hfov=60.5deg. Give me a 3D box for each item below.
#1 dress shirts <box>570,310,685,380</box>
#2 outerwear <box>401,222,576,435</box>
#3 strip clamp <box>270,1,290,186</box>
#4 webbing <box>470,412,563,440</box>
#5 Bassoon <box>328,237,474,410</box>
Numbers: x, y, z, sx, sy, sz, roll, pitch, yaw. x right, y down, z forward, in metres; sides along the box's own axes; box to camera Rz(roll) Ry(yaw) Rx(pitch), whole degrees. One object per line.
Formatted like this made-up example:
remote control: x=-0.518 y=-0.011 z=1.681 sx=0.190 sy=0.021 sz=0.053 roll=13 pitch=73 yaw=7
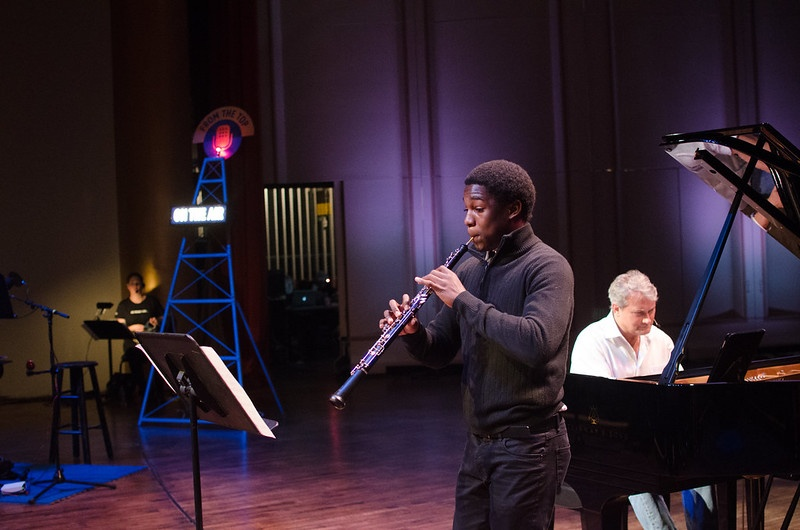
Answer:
dress shirts: x=1.600 y=0.388 z=4.921 sx=0.814 sy=0.719 sz=0.454 roll=-1 pitch=0 yaw=-11
outerwear: x=0.563 y=0.399 z=4.258 sx=1.022 sy=1.449 sz=1.174 roll=6 pitch=-11 yaw=-23
strip clamp: x=-1.839 y=-2.656 z=10.445 sx=0.195 sy=2.766 sz=0.298 roll=-2 pitch=7 yaw=-12
webbing: x=0.639 y=0.884 z=3.715 sx=0.488 sy=0.145 sz=0.118 roll=-1 pitch=6 yaw=4
Bassoon: x=-0.027 y=0.644 z=7.811 sx=0.288 sy=2.746 sz=0.412 roll=36 pitch=-17 yaw=22
